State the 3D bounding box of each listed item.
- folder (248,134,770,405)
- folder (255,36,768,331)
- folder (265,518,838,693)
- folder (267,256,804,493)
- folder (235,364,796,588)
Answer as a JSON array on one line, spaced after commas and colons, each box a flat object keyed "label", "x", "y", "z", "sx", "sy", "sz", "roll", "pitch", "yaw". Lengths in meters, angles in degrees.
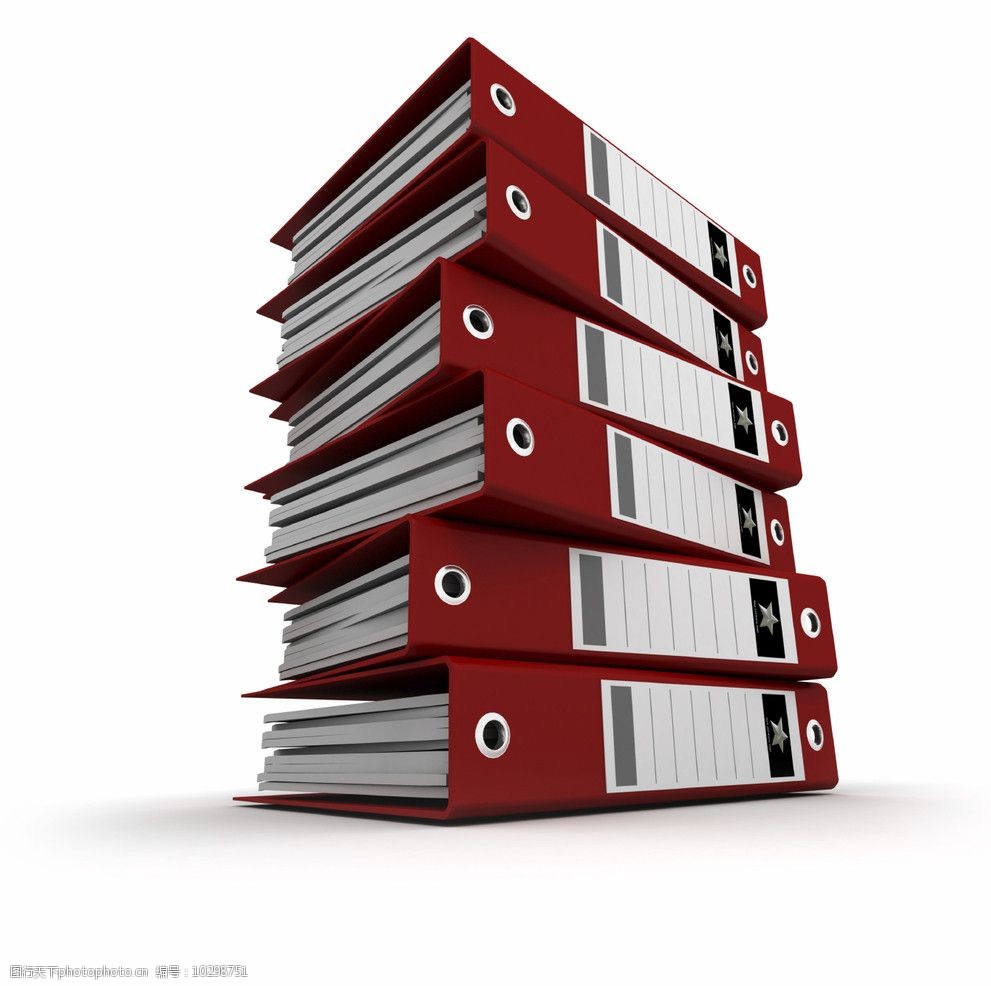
[{"label": "folder", "x": 0.247, "y": -0.549, "z": 2.382, "sx": 0.857, "sy": 0.160, "sz": 0.792, "roll": 9, "pitch": -26, "yaw": -38}, {"label": "folder", "x": 0.229, "y": -0.771, "z": 2.470, "sx": 0.774, "sy": 0.143, "sz": 0.727, "roll": 12, "pitch": -30, "yaw": -41}, {"label": "folder", "x": 0.077, "y": 0.345, "z": 2.419, "sx": 1.119, "sy": 0.202, "sz": 0.997, "roll": 9, "pitch": -19, "yaw": -29}, {"label": "folder", "x": 0.189, "y": -0.273, "z": 2.271, "sx": 0.833, "sy": 0.158, "sz": 0.763, "roll": 9, "pitch": -27, "yaw": -37}, {"label": "folder", "x": 0.218, "y": -0.025, "z": 2.097, "sx": 0.741, "sy": 0.136, "sz": 0.690, "roll": 8, "pitch": -18, "yaw": -36}]
